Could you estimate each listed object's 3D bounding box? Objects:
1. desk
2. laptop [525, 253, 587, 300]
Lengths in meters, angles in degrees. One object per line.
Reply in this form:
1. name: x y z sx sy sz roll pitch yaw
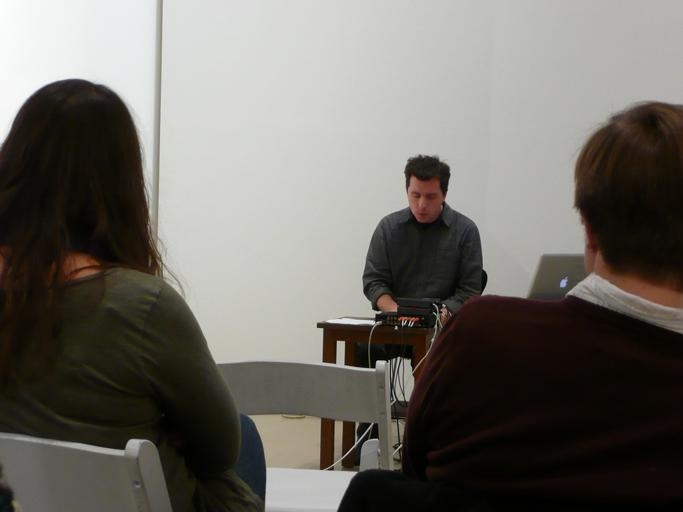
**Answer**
1. desk: 0.080 0.641 3.179 0.507 0.871 0.649 1 -2 6
2. laptop: 1.001 0.052 3.118 0.218 0.240 0.177 0 31 14
